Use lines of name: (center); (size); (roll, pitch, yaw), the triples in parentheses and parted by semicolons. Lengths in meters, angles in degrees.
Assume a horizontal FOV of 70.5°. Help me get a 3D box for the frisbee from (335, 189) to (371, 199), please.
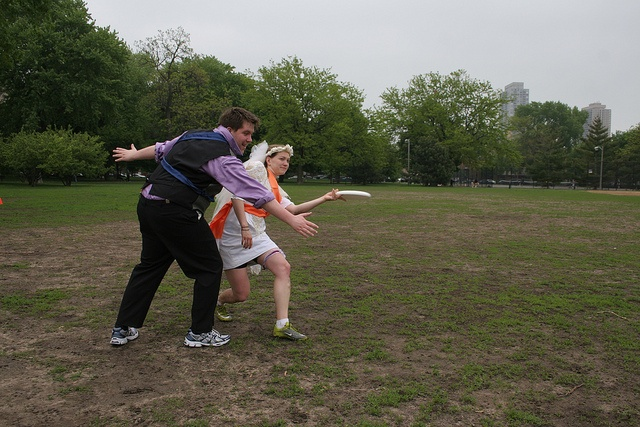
frisbee: (0.421, -0.252, 5.976); (0.431, 0.095, 0.479); (2, 5, 0)

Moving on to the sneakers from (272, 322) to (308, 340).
sneakers: (-0.449, 1.639, 6.332); (0.553, 0.243, 0.188); (2, -2, -1)

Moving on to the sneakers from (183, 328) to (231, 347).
sneakers: (-1.532, 1.664, 6.120); (0.611, 0.274, 0.222); (1, 1, -15)

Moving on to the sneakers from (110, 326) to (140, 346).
sneakers: (-2.601, 1.603, 6.001); (0.155, 0.178, 0.389); (0, 4, 17)

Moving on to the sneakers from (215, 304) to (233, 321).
sneakers: (-1.465, 1.476, 6.754); (0.362, 0.154, 0.139); (25, 10, 24)
